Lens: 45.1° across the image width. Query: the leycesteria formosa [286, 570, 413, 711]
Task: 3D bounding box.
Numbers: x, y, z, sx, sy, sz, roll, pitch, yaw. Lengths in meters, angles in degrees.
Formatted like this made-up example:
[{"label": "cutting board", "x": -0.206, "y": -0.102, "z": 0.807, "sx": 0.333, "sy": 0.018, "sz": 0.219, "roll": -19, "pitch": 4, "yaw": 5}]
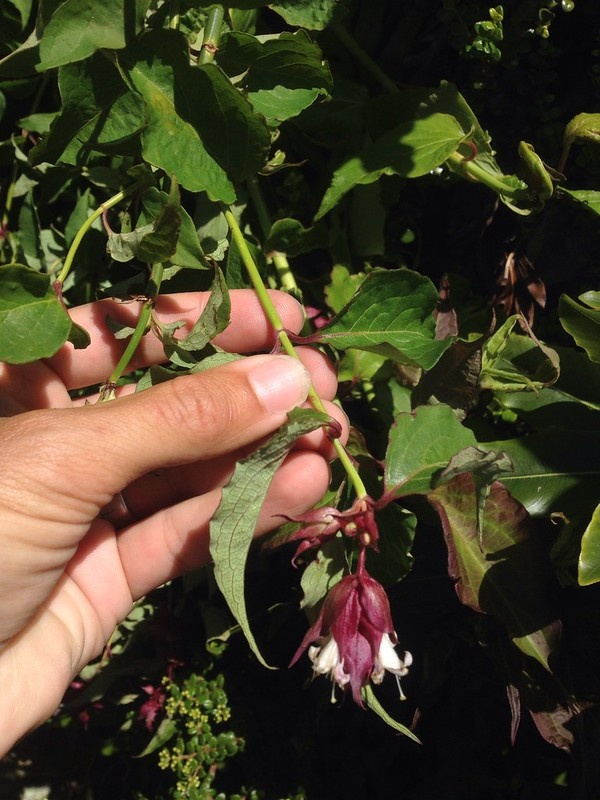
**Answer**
[{"label": "leycesteria formosa", "x": 0.066, "y": 0.306, "z": 0.912, "sx": 0.133, "sy": 0.089, "sz": 0.187, "roll": -4, "pitch": 10, "yaw": -3}]
